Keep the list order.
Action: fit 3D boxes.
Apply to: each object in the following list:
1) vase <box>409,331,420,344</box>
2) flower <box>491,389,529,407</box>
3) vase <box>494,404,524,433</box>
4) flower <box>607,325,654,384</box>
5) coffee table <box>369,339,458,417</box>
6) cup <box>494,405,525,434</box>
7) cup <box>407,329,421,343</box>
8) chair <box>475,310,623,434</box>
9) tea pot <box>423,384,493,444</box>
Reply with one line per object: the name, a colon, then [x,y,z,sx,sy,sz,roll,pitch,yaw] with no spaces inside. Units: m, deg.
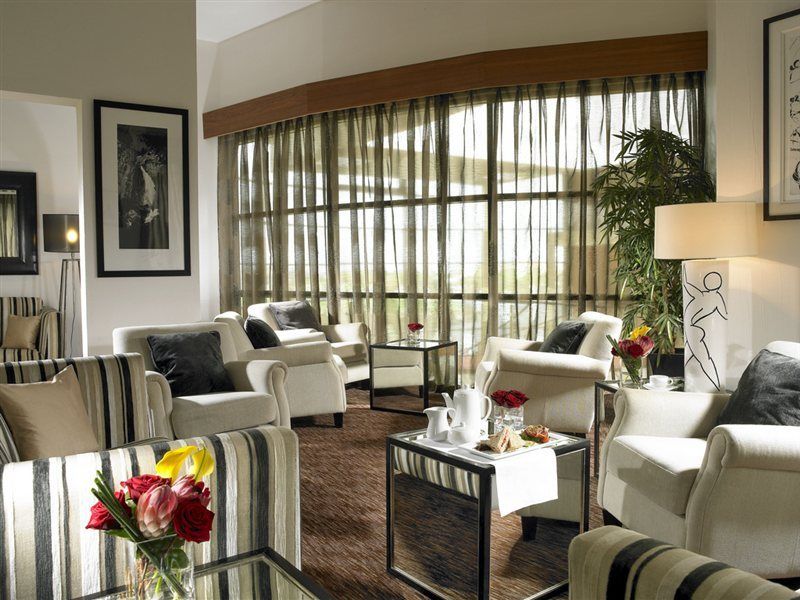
vase: [0.120,0.323,5.510,0.087,0.105,0.086,-5,8,-40]
flower: [0.489,0.439,2.842,0.099,0.048,0.105,15,-4,-1]
vase: [0.496,0.533,2.874,0.113,0.131,0.118,-1,5,-4]
flower: [1.354,0.354,3.702,0.268,0.310,0.234,3,-10,13]
coffee table: [0.144,0.605,5.575,0.638,0.707,0.644,3,3,16]
cup: [0.500,0.532,2.896,0.116,0.134,0.120,-1,3,0]
cup: [0.115,0.305,5.516,0.107,0.121,0.113,-1,2,0]
chair: [1.044,0.585,4.629,0.860,0.930,0.938,3,-2,3]
tea pot: [0.276,0.523,2.910,0.296,0.302,0.193,1,-5,15]
